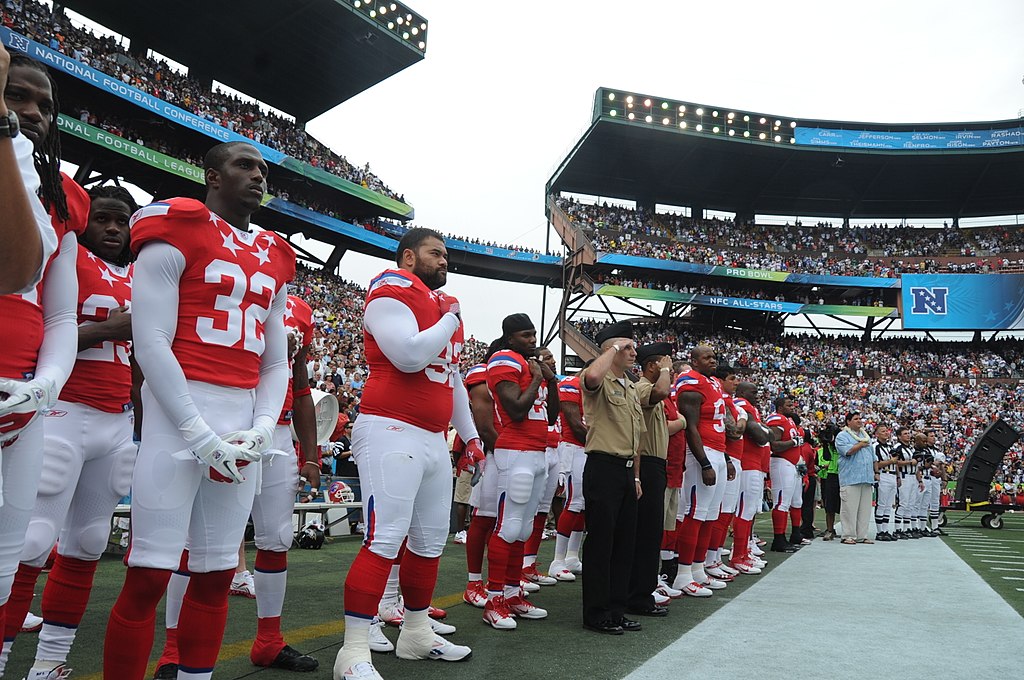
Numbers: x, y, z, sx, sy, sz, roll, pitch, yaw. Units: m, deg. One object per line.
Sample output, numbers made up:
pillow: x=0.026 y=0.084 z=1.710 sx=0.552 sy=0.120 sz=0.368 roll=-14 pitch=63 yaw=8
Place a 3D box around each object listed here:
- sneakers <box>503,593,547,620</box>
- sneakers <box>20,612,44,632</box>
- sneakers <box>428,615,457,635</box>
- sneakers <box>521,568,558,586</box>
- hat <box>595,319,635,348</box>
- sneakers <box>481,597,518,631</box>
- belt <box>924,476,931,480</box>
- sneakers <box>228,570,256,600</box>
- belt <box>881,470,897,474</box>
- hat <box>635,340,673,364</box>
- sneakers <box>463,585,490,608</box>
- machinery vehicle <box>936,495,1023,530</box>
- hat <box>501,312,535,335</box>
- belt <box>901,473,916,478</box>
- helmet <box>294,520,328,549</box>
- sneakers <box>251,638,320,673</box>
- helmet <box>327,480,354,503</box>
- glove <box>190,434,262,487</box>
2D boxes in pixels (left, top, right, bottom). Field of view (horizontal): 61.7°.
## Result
sneakers: x=0.178 y=2.523 z=8.181 sx=0.505 sy=0.213 sz=0.171 roll=3 pitch=-8 yaw=-5
sneakers: x=-4.073 y=2.354 z=7.249 sx=0.126 sy=0.138 sz=0.546 roll=7 pitch=-11 yaw=-28
sneakers: x=-0.639 y=2.460 z=7.450 sx=0.145 sy=0.147 sz=0.363 roll=12 pitch=-16 yaw=-35
sneakers: x=0.309 y=2.673 z=9.765 sx=0.557 sy=0.204 sz=0.177 roll=4 pitch=-11 yaw=-12
hat: x=0.992 y=-0.104 z=8.250 sx=0.331 sy=0.187 sz=0.268 roll=-21 pitch=-12 yaw=22
sneakers: x=-0.096 y=2.459 z=7.841 sx=0.294 sy=0.282 sz=0.355 roll=3 pitch=-10 yaw=-9
belt: x=7.800 y=2.551 z=15.980 sx=0.050 sy=0.094 sz=0.294 roll=-7 pitch=-12 yaw=39
sneakers: x=-2.715 y=2.418 z=8.618 sx=0.198 sy=0.252 sz=0.558 roll=5 pitch=-10 yaw=-18
belt: x=6.706 y=2.320 z=15.142 sx=0.297 sy=0.073 sz=0.112 roll=3 pitch=-10 yaw=-13
hat: x=1.487 y=0.125 z=9.003 sx=0.245 sy=0.112 sz=0.296 roll=0 pitch=-6 yaw=-27
sneakers: x=-0.342 y=2.526 z=8.551 sx=0.342 sy=0.220 sz=0.158 roll=-7 pitch=-13 yaw=39
machinery vehicle: x=10.047 y=3.598 z=18.091 sx=1.550 sy=0.357 sz=1.440 roll=-5 pitch=-11 yaw=16
hat: x=0.059 y=-0.150 z=8.334 sx=0.347 sy=0.207 sz=0.344 roll=-5 pitch=-2 yaw=-4
belt: x=7.096 y=2.394 z=15.221 sx=0.284 sy=0.091 sz=0.073 roll=5 pitch=-11 yaw=-24
helmet: x=-2.676 y=2.555 z=11.320 sx=0.380 sy=0.345 sz=0.522 roll=4 pitch=-10 yaw=-15
sneakers: x=-1.751 y=2.443 z=6.658 sx=0.533 sy=0.197 sz=0.188 roll=0 pitch=-12 yaw=7
helmet: x=-2.342 y=2.065 z=11.748 sx=0.340 sy=0.256 sz=0.255 roll=-1 pitch=-6 yaw=-12
glove: x=-1.782 y=0.699 z=5.416 sx=0.360 sy=0.147 sz=0.275 roll=-9 pitch=-4 yaw=5
